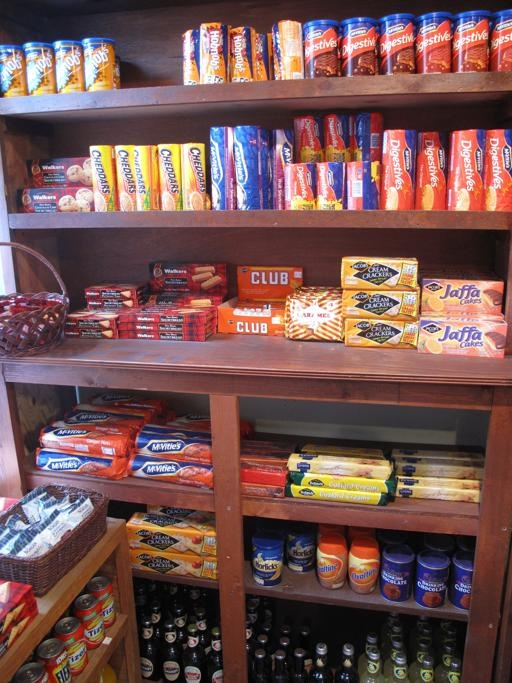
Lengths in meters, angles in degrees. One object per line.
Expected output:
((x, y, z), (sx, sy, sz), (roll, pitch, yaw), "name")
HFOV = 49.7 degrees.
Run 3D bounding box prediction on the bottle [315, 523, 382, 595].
((0.279, 0.681, 1.774), (0.225, 0.184, 0.125), (3, 12, 18), "bottle")
